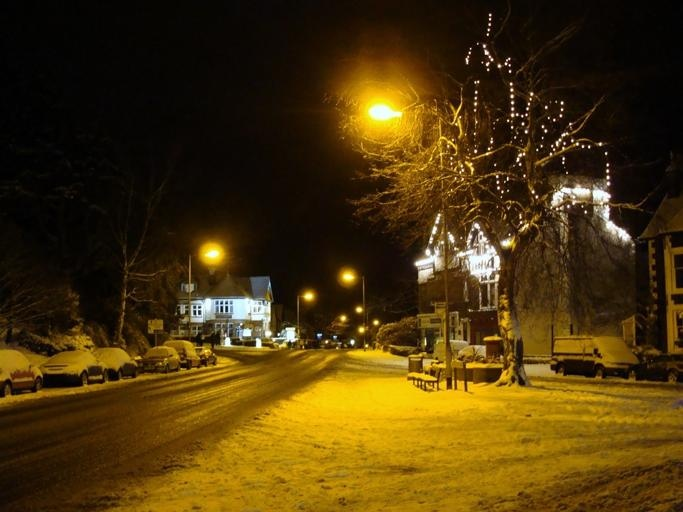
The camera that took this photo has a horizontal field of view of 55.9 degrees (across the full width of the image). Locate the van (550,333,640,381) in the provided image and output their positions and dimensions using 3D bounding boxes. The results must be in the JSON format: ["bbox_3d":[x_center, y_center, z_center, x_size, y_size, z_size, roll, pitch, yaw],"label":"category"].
[{"bbox_3d":[13.376,5.232,33.986,1.852,1.843,3.152,5,-16,-25],"label":"van"}]

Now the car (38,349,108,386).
[{"bbox_3d":[-12.300,5.204,30.037,1.094,1.005,2.654,0,-5,7],"label":"car"}]
